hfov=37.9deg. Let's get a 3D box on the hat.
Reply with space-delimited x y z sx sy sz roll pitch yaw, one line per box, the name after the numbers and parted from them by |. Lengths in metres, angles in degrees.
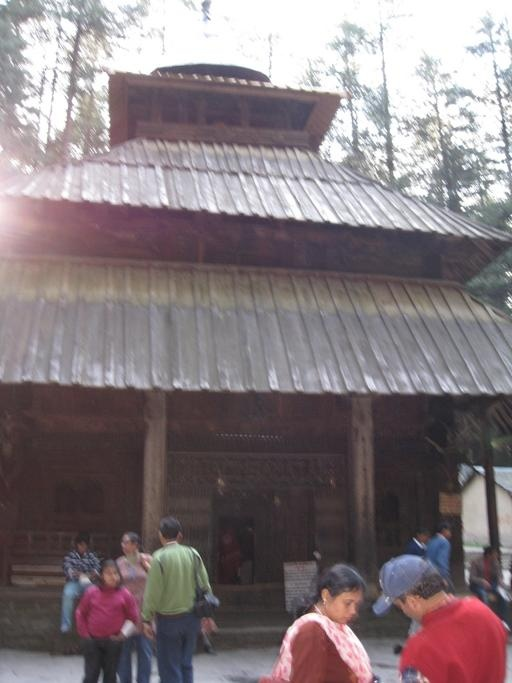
0.659 1.147 3.512 0.292 0.234 0.243 -17 -9 0 | hat
